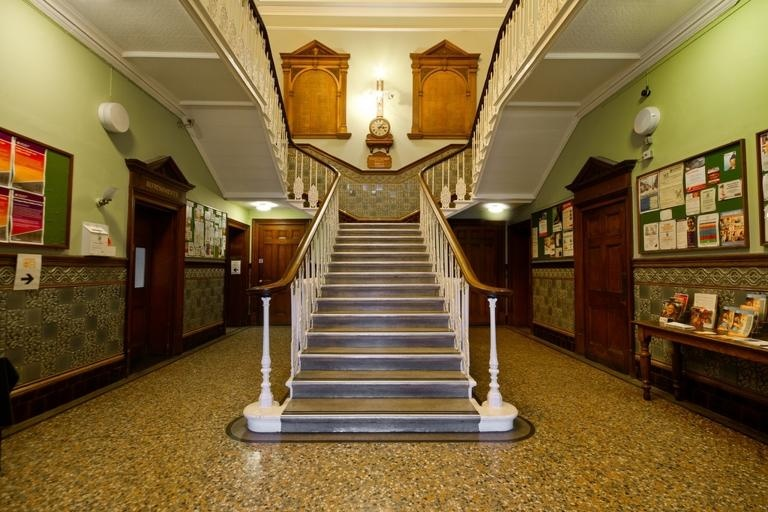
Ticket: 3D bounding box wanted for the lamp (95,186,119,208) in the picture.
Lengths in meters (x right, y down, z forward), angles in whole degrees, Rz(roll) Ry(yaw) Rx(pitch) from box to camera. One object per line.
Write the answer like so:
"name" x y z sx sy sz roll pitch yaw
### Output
"lamp" -3.767 -0.787 6.126 0.206 0.219 0.300 0 0 8
